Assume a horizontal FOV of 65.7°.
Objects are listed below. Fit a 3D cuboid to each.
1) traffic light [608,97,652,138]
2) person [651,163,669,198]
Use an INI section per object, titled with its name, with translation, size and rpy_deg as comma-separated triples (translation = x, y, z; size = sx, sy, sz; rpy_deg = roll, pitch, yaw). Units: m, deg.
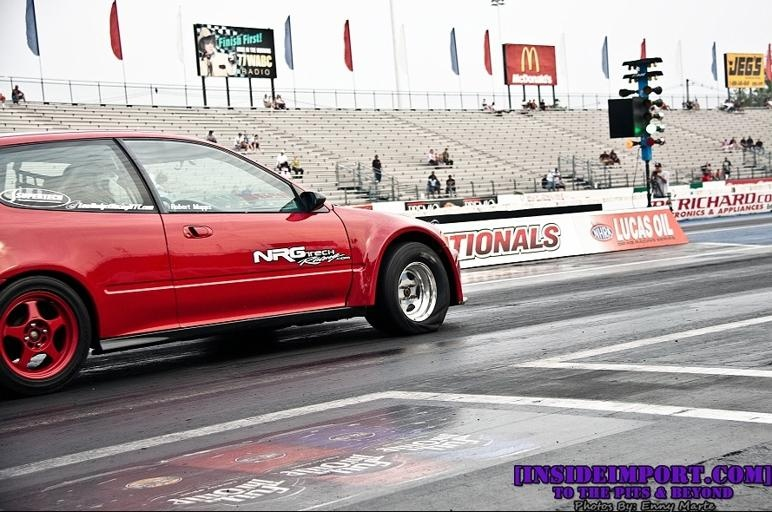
[traffic light]
translation = 8.726, -4.934, 21.308
size = 1.499, 1.390, 0.896
rpy_deg = -1, 10, 30
[person]
translation = 12.116, -3.284, 26.203
size = 0.559, 1.438, 0.896
rpy_deg = -6, 8, 10
